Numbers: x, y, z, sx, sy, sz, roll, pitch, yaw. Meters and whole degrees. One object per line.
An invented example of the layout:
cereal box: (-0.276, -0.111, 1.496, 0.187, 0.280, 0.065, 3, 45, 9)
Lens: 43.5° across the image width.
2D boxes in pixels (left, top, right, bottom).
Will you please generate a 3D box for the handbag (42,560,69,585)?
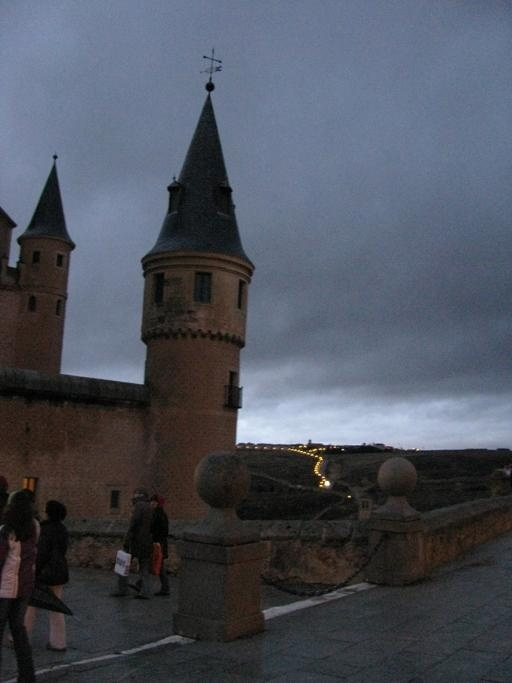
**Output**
handbag: (-1.891, 2.180, 6.072, 0.246, 0.155, 0.223, 0, -17, 1)

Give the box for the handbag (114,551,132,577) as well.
handbag: (-1.647, 2.741, 7.915, 0.147, 0.332, 0.374, 4, -10, -15)

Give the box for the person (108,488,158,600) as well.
person: (-1.617, 2.707, 8.543, 0.488, 1.402, 0.948, 3, -10, -10)
